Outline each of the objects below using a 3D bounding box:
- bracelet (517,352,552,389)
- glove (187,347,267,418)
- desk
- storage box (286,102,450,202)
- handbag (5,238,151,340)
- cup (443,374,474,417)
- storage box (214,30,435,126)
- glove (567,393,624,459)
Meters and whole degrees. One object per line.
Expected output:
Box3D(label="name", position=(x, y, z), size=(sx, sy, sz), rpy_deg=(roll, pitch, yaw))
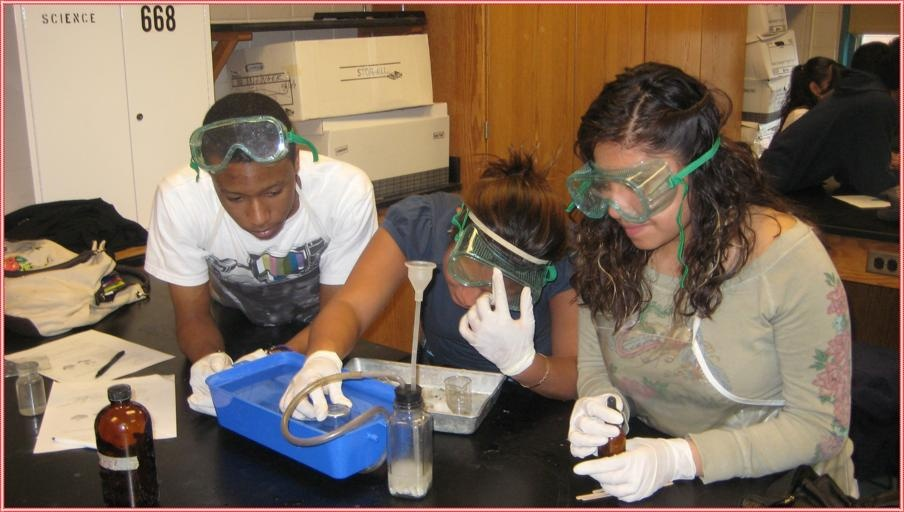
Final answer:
Box3D(label="bracelet", position=(0.361, 0.508, 2.966), size=(0.146, 0.037, 0.150), rpy_deg=(3, 52, 56))
Box3D(label="glove", position=(-0.990, 0.557, 3.008), size=(0.237, 0.109, 0.310), rpy_deg=(18, 40, 26))
Box3D(label="desk", position=(-0.508, 0.401, 2.492), size=(1.386, 0.294, 0.898), rpy_deg=(13, 25, 26))
Box3D(label="storage box", position=(-0.529, -0.751, 4.828), size=(0.846, 0.472, 0.810), rpy_deg=(-13, 14, -37))
Box3D(label="handbag", position=(-1.890, 0.147, 3.546), size=(0.496, 0.226, 0.604), rpy_deg=(15, 22, 20))
Box3D(label="cup", position=(0.024, 0.571, 2.859), size=(0.108, 0.142, 0.150), rpy_deg=(-1, 7, -14))
Box3D(label="storage box", position=(-0.859, -1.163, 4.556), size=(0.939, 0.363, 0.874), rpy_deg=(-2, 9, 23))
Box3D(label="glove", position=(0.560, 0.646, 2.700), size=(0.206, 0.093, 0.258), rpy_deg=(3, 38, 29))
